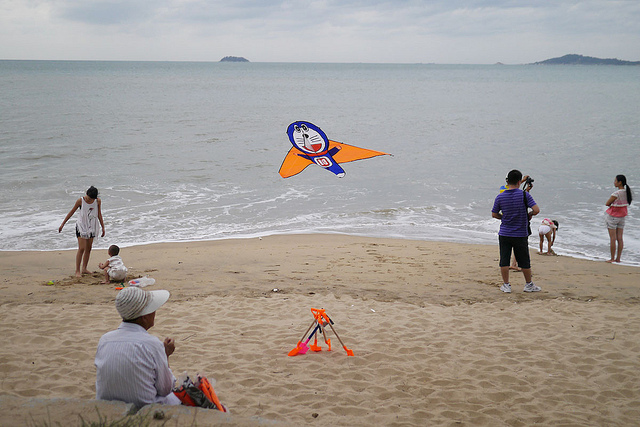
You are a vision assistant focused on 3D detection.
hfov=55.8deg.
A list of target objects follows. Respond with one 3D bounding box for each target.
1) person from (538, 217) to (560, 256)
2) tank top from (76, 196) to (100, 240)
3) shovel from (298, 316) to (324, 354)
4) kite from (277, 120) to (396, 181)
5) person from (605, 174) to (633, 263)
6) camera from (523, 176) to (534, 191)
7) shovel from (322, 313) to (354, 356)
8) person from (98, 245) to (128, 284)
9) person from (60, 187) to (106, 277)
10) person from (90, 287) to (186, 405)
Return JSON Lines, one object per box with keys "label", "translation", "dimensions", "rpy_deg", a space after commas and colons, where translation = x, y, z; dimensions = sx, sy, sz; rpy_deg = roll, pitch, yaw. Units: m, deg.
{"label": "person", "translation": [6.308, 0.577, 16.853], "dimensions": [0.519, 0.981, 1.475], "rpy_deg": [0, -5, 32]}
{"label": "tank top", "translation": [-5.552, 0.104, 14.459], "dimensions": [0.499, 1.004, 0.285], "rpy_deg": [-7, 16, -29]}
{"label": "shovel", "translation": [-0.185, 2.354, 11.584], "dimensions": [0.346, 0.604, 0.409], "rpy_deg": [5, 14, 15]}
{"label": "kite", "translation": [0.080, -1.248, 12.102], "dimensions": [3.324, 1.351, 0.210], "rpy_deg": [-9, -17, -33]}
{"label": "person", "translation": [7.810, 0.106, 16.006], "dimensions": [0.540, 2.322, 1.233], "rpy_deg": [8, 15, 24]}
{"label": "camera", "translation": [4.719, -0.750, 13.859], "dimensions": [0.196, 0.363, 0.259], "rpy_deg": [15, -8, 28]}
{"label": "shovel", "translation": [0.308, 2.268, 11.624], "dimensions": [0.541, 0.789, 0.759], "rpy_deg": [-2, 12, -13]}
{"label": "person", "translation": [-4.827, 1.176, 14.089], "dimensions": [0.574, 0.885, 0.358], "rpy_deg": [-3, 15, -15]}
{"label": "person", "translation": [-5.628, 0.409, 14.552], "dimensions": [0.831, 2.108, 0.929], "rpy_deg": [-4, 15, -19]}
{"label": "person", "translation": [-2.853, 2.097, 9.416], "dimensions": [1.240, 1.884, 0.658], "rpy_deg": [-4, 15, -20]}
